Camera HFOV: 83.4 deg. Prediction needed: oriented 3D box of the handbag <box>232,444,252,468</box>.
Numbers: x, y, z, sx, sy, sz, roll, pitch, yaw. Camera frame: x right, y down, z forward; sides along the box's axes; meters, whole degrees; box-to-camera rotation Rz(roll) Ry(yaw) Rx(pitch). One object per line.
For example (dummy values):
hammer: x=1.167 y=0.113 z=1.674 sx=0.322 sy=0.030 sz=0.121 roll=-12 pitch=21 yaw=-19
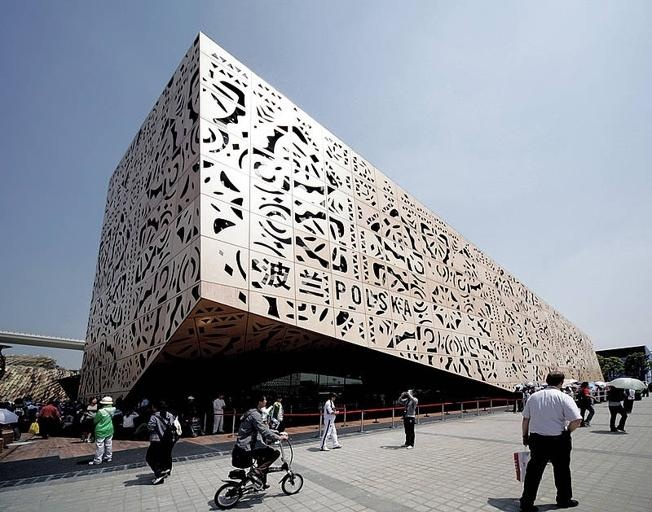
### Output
handbag: x=-1.605 y=3.792 z=7.163 sx=0.426 sy=0.487 sz=0.348 roll=7 pitch=-13 yaw=-6

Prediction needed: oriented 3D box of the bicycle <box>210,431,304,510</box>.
bicycle: x=-1.371 y=4.332 z=7.725 sx=2.019 sy=1.360 sz=1.163 roll=-2 pitch=-34 yaw=-27

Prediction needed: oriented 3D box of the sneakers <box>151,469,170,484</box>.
sneakers: x=-3.726 y=4.838 z=8.298 sx=0.252 sy=0.242 sz=0.444 roll=-7 pitch=-16 yaw=28

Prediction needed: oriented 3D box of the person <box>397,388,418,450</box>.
person: x=2.657 y=5.124 z=11.790 sx=0.543 sy=1.612 sz=1.341 roll=-2 pitch=-14 yaw=11
